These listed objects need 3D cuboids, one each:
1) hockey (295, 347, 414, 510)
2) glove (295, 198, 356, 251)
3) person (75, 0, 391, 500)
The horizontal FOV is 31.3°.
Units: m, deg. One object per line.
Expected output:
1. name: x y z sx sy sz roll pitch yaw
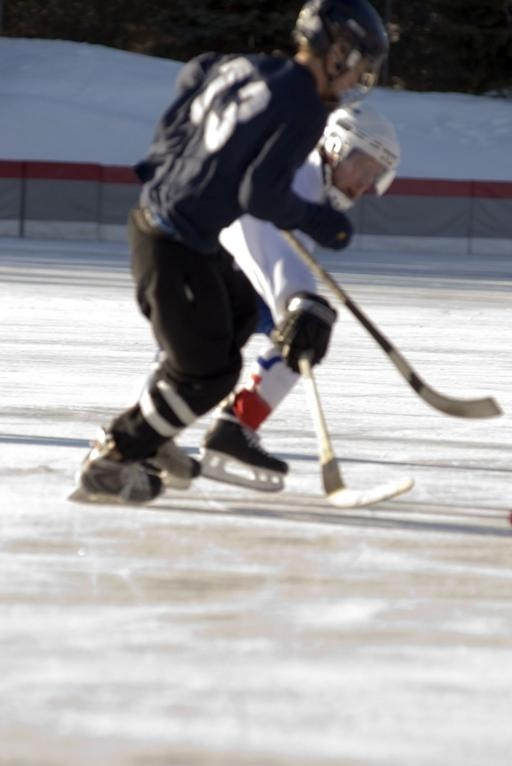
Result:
1. hockey: 0.137 0.078 1.687 0.092 0.075 0.553 -1 26 -14
2. glove: 0.119 -0.263 1.522 0.036 0.061 0.099 -39 -22 15
3. person: -0.037 -0.227 1.598 0.378 0.884 0.364 9 10 25
